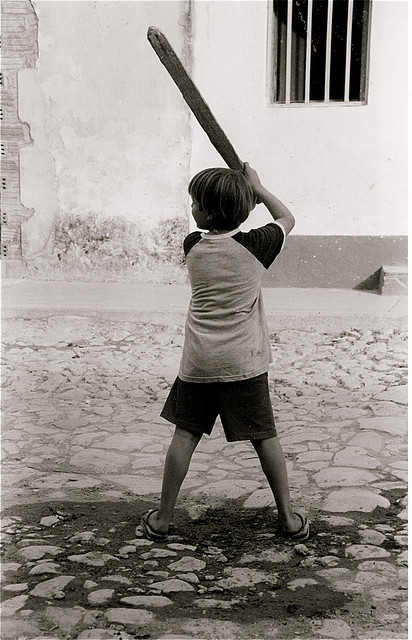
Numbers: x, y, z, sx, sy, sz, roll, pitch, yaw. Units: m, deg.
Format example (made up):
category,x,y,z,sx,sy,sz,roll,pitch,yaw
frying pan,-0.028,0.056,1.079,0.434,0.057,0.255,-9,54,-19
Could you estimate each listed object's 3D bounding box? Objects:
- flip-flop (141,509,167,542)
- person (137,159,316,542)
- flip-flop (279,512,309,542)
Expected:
category,x,y,z,sx,sy,sz,roll,pitch,yaw
flip-flop,-0.176,0.709,2.888,0.071,0.077,0.107,2,7,-25
person,0.095,0.140,2.821,0.551,1.267,0.259,5,6,-4
flip-flop,0.310,0.707,2.852,0.109,0.075,0.071,0,8,-38
